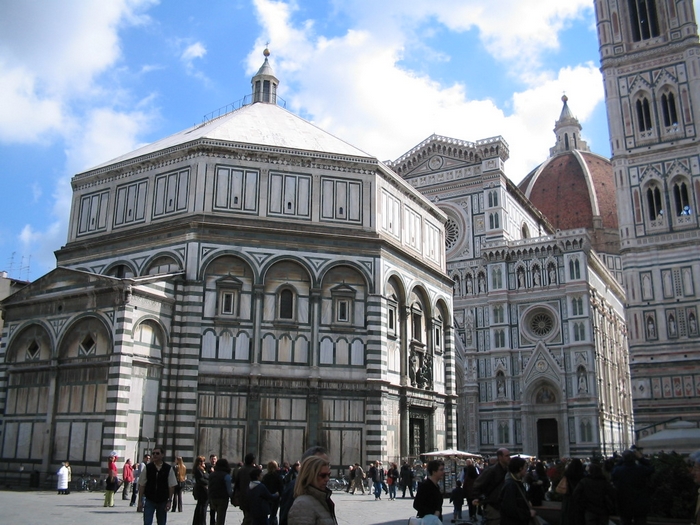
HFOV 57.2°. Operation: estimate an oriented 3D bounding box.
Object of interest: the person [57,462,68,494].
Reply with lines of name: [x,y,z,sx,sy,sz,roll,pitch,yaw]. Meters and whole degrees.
person: [-10.768,8.174,24.358,0.389,1.141,0.682,8,-22,-21]
